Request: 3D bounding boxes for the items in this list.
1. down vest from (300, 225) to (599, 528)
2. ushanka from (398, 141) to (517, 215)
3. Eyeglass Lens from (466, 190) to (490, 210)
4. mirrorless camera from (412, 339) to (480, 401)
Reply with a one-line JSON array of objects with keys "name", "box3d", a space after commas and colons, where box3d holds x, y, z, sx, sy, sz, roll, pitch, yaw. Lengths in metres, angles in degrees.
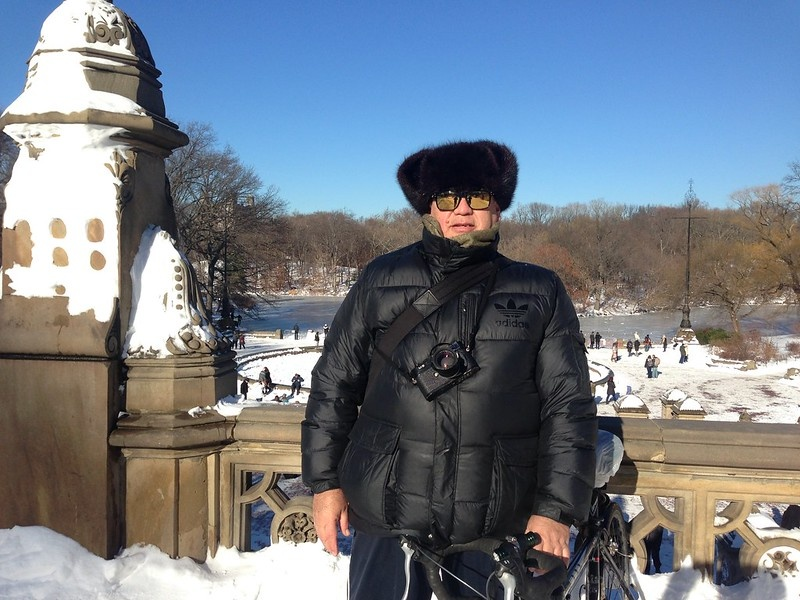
[{"name": "down vest", "box3d": [0.269, 0.447, 5.061, 1.559, 1.634, 0.891, 4, 5, 10]}, {"name": "ushanka", "box3d": [0.272, -0.757, 5.317, 0.681, 0.339, 0.686, -13, -2, 26]}, {"name": "Eyeglass Lens", "box3d": [0.427, -0.546, 5.016, 0.095, 0.050, 0.105, 2, -7, 6]}, {"name": "mirrorless camera", "box3d": [0.236, 0.375, 4.786, 0.350, 0.304, 0.094, 0, -3, -3]}]
